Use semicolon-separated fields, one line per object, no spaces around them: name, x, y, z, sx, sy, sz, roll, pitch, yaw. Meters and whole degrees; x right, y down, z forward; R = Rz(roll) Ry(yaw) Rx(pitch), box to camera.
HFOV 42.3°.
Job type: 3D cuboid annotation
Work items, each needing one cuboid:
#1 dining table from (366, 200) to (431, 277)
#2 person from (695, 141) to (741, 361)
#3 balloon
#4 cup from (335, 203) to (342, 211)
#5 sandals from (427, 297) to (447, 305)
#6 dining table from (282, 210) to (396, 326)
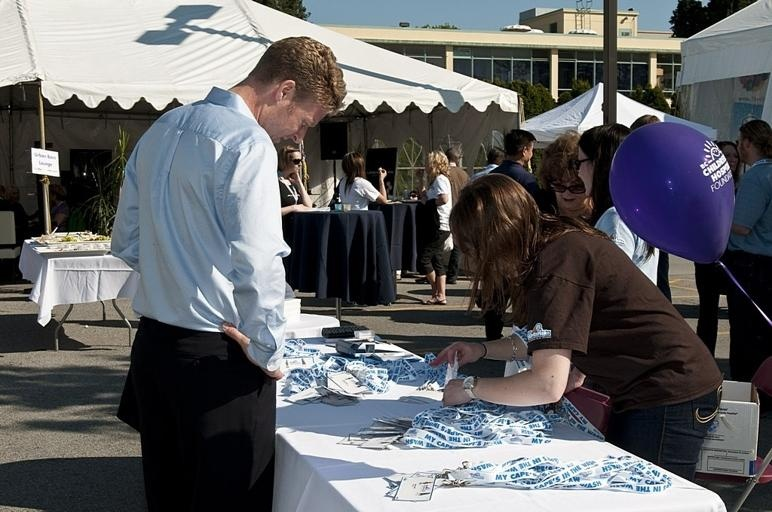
dining table;0.117;-0.216;12.789;0.766;0.903;0.789;-2;2;-11
person;2.878;0.047;8.776;0.343;2.165;0.381;4;43;19
balloon;1.867;-0.458;6.602;0.653;0.885;0.492;-25;1;9
cup;-0.515;-0.539;11.000;0.056;0.084;0.110;2;-5;-12
sandals;0.625;0.545;12.231;0.239;0.103;0.093;4;3;10
dining table;-0.549;0.099;11.007;0.955;0.791;1.022;-3;0;-12
